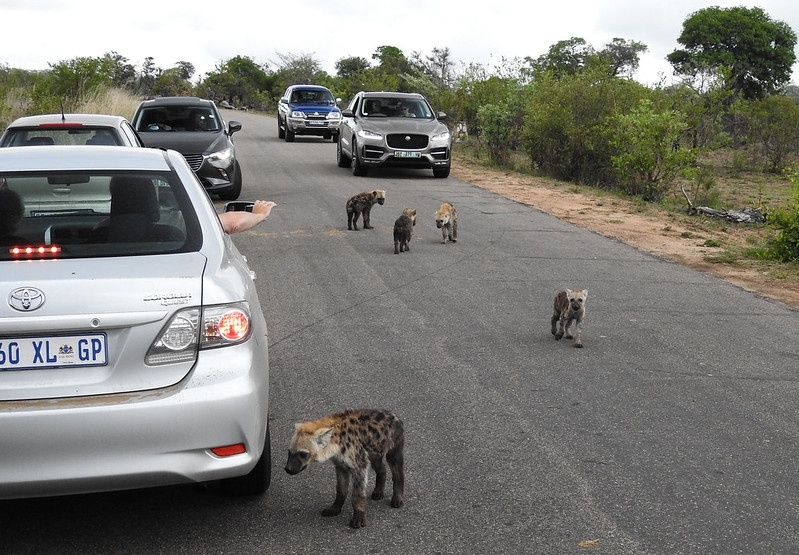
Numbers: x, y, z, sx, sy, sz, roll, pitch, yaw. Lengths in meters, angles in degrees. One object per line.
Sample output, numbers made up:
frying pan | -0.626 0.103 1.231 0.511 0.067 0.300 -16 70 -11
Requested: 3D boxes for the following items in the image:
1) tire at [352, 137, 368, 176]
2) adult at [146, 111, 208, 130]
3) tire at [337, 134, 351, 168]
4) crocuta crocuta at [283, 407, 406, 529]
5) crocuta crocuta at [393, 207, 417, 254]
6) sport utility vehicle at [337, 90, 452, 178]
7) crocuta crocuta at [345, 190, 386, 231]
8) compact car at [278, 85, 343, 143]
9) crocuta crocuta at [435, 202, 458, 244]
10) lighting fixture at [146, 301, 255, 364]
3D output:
tire | -1.416 -4.326 18.788 0.424 1.280 1.249 0 9 -10
adult | -5.924 -4.227 14.212 0.734 0.519 1.197 -2 11 -13
tire | -2.190 -4.968 20.805 0.539 1.627 1.580 0 3 -9
crocuta crocuta | -0.295 1.205 3.354 0.846 0.682 0.352 3 -7 -39
crocuta crocuta | 0.185 -0.905 10.410 0.285 0.705 1.237 15 -3 -16
sport utility vehicle | -0.233 -5.304 19.423 4.327 3.108 2.932 7 16 19
crocuta crocuta | -0.788 -1.545 12.026 0.307 0.825 1.162 12 17 40
compact car | -5.160 -9.185 29.496 3.577 3.090 2.443 2 15 3
crocuta crocuta | 1.013 -1.138 11.116 0.434 0.820 0.902 3 15 7
lighting fixture | -1.171 0.300 2.864 0.217 0.267 0.855 -14 -2 24
